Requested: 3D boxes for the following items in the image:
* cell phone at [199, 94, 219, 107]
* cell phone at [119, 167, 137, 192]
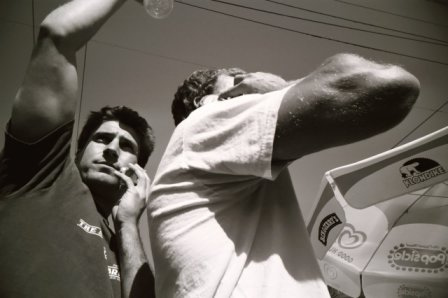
[{"bbox_3d":[-0.064,-0.209,1.768,0.038,0.061,0.085,60,-7,-3],"label":"cell phone"},{"bbox_3d":[-0.666,0.211,2.896,0.129,0.161,0.113,2,0,-37],"label":"cell phone"}]
